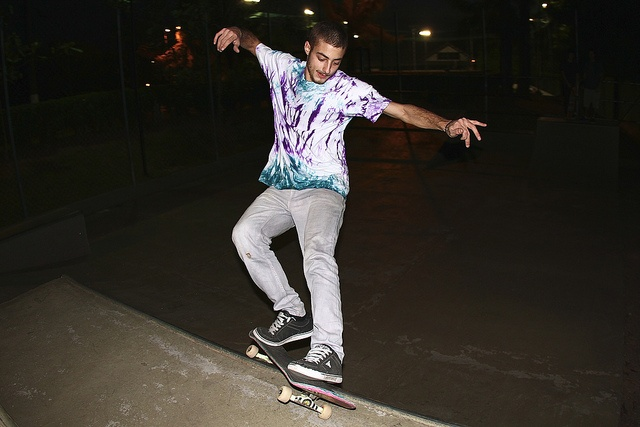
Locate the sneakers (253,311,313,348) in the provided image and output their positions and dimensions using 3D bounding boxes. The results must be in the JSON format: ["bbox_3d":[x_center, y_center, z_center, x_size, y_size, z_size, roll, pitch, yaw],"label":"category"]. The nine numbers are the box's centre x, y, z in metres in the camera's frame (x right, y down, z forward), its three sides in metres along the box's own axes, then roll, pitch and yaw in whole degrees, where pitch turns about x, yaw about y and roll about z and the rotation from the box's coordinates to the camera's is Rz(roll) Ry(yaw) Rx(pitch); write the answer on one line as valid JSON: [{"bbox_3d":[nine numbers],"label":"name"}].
[{"bbox_3d":[-0.248,0.843,3.820,0.560,0.250,0.202,1,11,-29],"label":"sneakers"}]

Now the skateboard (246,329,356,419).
[{"bbox_3d":[-0.268,1.092,3.560,1.062,0.179,0.355,30,16,31],"label":"skateboard"}]

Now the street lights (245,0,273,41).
[{"bbox_3d":[-1.030,-3.519,9.270,0.606,0.704,0.652,-3,4,2],"label":"street lights"}]

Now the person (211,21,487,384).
[{"bbox_3d":[-0.149,-0.076,3.801,1.309,2.634,1.193,12,18,30],"label":"person"}]
